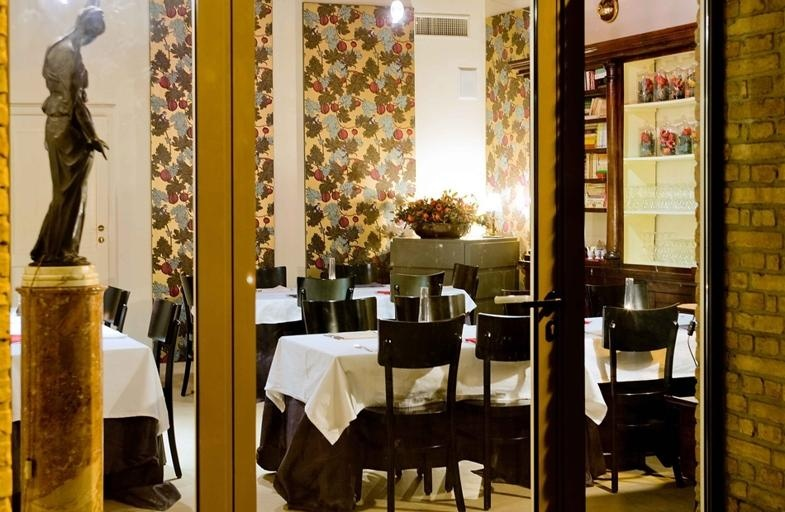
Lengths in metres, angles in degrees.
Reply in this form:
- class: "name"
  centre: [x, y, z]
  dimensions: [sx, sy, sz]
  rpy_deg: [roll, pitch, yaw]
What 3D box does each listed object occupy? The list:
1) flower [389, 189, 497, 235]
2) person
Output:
- class: "flower"
  centre: [0.308, -0.254, 4.053]
  dimensions: [0.634, 0.301, 0.327]
  rpy_deg: [-2, -1, 17]
- class: "person"
  centre: [-1.105, -0.428, 2.298]
  dimensions: [0.243, 0.918, 0.147]
  rpy_deg: [-1, -1, -32]
